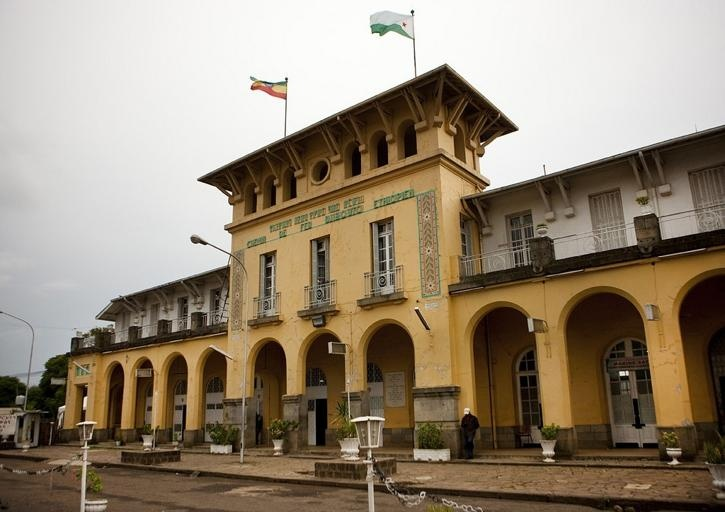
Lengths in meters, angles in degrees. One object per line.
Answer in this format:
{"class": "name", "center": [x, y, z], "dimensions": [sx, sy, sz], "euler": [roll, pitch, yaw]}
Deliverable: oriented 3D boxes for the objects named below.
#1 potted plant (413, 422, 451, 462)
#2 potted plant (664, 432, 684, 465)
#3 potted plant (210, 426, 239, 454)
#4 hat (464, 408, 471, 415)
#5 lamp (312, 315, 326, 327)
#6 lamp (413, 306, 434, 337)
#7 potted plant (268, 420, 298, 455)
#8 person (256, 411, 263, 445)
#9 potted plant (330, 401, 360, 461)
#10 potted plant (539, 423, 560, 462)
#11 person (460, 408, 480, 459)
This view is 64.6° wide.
{"class": "potted plant", "center": [2.476, 6.705, 20.717], "dimensions": [1.301, 1.402, 0.530], "euler": [-17, -25, 37]}
{"class": "potted plant", "center": [9.221, 5.693, 16.977], "dimensions": [0.447, 0.924, 0.505], "euler": [22, -30, -28]}
{"class": "potted plant", "center": [-6.375, 8.540, 26.520], "dimensions": [1.433, 1.507, 1.137], "euler": [-6, -25, 14]}
{"class": "hat", "center": [3.735, 5.546, 20.475], "dimensions": [0.167, 0.211, 0.218], "euler": [-9, -30, 25]}
{"class": "lamp", "center": [-1.823, 2.753, 24.078], "dimensions": [0.588, 0.554, 0.449], "euler": [-11, -20, 27]}
{"class": "lamp", "center": [2.133, 2.286, 21.434], "dimensions": [0.632, 1.121, 0.965], "euler": [-9, -22, 21]}
{"class": "potted plant", "center": [-3.444, 7.847, 24.610], "dimensions": [1.400, 1.558, 1.272], "euler": [1, -12, 0]}
{"class": "person", "center": [-5.135, 8.609, 28.669], "dimensions": [0.367, 1.425, 0.246], "euler": [10, -22, -28]}
{"class": "potted plant", "center": [-0.558, 6.387, 21.123], "dimensions": [1.058, 2.137, 0.945], "euler": [-4, -8, -19]}
{"class": "potted plant", "center": [6.173, 6.150, 18.877], "dimensions": [0.620, 1.218, 0.516], "euler": [1, -20, -4]}
{"class": "person", "center": [3.842, 6.414, 20.681], "dimensions": [0.611, 1.727, 1.378], "euler": [-3, -20, 7]}
